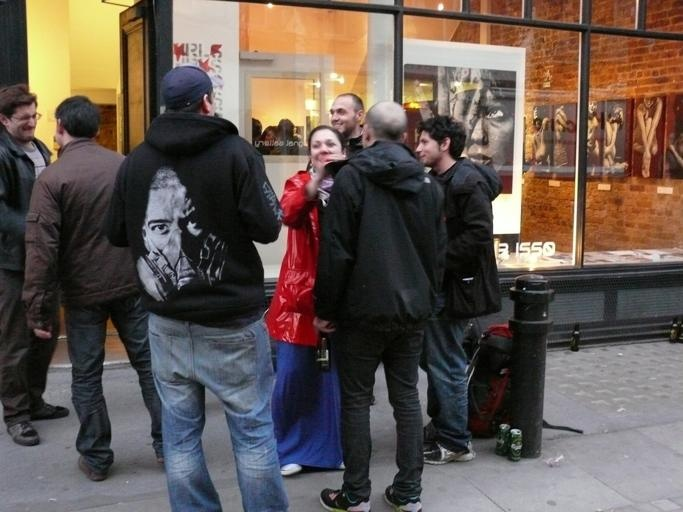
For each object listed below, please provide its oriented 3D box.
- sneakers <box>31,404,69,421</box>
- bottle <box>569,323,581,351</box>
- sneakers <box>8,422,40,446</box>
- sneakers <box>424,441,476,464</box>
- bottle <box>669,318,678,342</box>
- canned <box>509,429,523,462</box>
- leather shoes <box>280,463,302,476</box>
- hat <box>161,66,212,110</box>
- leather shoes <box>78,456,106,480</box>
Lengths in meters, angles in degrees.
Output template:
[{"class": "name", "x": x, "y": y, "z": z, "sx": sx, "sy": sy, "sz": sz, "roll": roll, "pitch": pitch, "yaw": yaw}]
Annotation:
[{"class": "sneakers", "x": -2.207, "y": 1.178, "z": 4.954, "sx": 0.272, "sy": 0.113, "sz": 0.097, "roll": -1, "pitch": 5, "yaw": -29}, {"class": "bottle", "x": 2.396, "y": 0.819, "z": 6.707, "sx": 0.104, "sy": 0.265, "sz": 0.243, "roll": 6, "pitch": 13, "yaw": 22}, {"class": "sneakers", "x": -2.236, "y": 1.251, "z": 4.584, "sx": 0.110, "sy": 0.119, "sz": 0.286, "roll": -1, "pitch": 3, "yaw": -45}, {"class": "sneakers", "x": 0.714, "y": 1.324, "z": 4.451, "sx": 0.342, "sy": 0.172, "sz": 0.131, "roll": 1, "pitch": 5, "yaw": -10}, {"class": "bottle", "x": 3.566, "y": 0.791, "z": 7.006, "sx": 0.088, "sy": 0.246, "sz": 0.148, "roll": 6, "pitch": 13, "yaw": 23}, {"class": "canned", "x": 1.184, "y": 1.286, "z": 4.448, "sx": 0.091, "sy": 0.207, "sz": 0.081, "roll": 2, "pitch": 12, "yaw": 4}, {"class": "leather shoes", "x": -0.336, "y": 1.387, "z": 4.229, "sx": 0.162, "sy": 0.066, "sz": 0.063, "roll": 8, "pitch": -9, "yaw": -43}, {"class": "hat", "x": -0.758, "y": -0.820, "z": 3.324, "sx": 0.274, "sy": 0.222, "sz": 0.243, "roll": -8, "pitch": 22, "yaw": -10}, {"class": "leather shoes", "x": -1.636, "y": 1.340, "z": 4.213, "sx": 0.245, "sy": 0.108, "sz": 0.096, "roll": 15, "pitch": 25, "yaw": 40}]
